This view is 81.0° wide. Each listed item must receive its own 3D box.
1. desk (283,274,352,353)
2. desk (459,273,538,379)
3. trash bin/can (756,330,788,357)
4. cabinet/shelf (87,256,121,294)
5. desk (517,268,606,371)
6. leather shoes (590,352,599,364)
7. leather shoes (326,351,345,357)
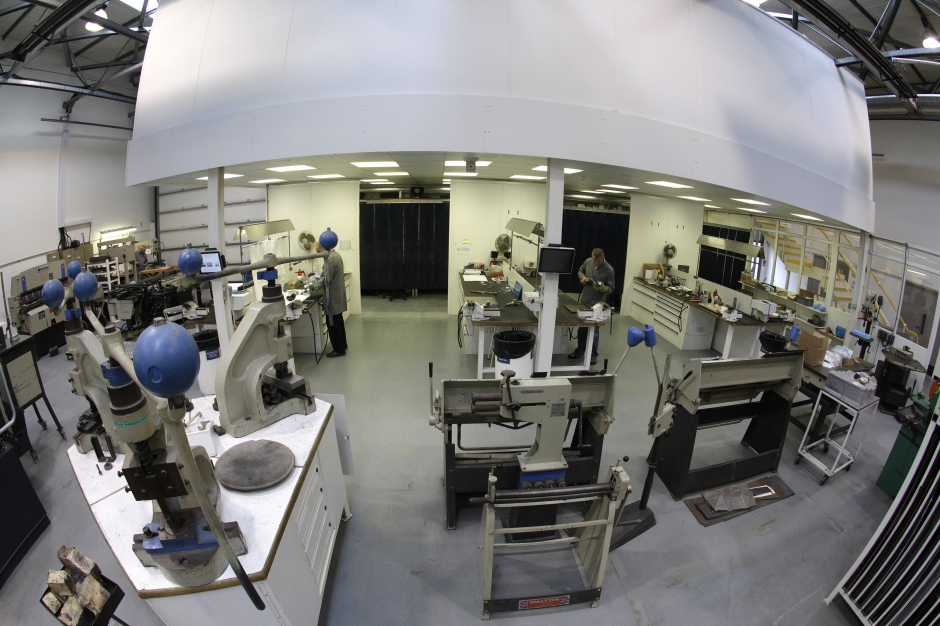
[{"bbox_3d":[-2.486,0.167,8.633,0.846,1.226,1.666,0,13,3],"label":"desk"},{"bbox_3d":[0.389,0.186,9.111,0.825,0.962,3.525,2,13,-2],"label":"desk"},{"bbox_3d":[3.807,0.375,6.860,0.362,0.275,0.383,4,5,14],"label":"trash bin/can"},{"bbox_3d":[-6.709,-0.747,9.966,0.462,0.598,0.948,-11,15,-28],"label":"cabinet/shelf"},{"bbox_3d":[1.329,0.134,7.889,0.618,1.330,1.262,-1,15,0],"label":"desk"},{"bbox_3d":[1.963,0.707,8.589,0.165,0.176,0.176,2,16,8],"label":"leather shoes"},{"bbox_3d":[-2.131,0.625,8.645,0.202,0.080,0.112,0,9,-26],"label":"leather shoes"}]
